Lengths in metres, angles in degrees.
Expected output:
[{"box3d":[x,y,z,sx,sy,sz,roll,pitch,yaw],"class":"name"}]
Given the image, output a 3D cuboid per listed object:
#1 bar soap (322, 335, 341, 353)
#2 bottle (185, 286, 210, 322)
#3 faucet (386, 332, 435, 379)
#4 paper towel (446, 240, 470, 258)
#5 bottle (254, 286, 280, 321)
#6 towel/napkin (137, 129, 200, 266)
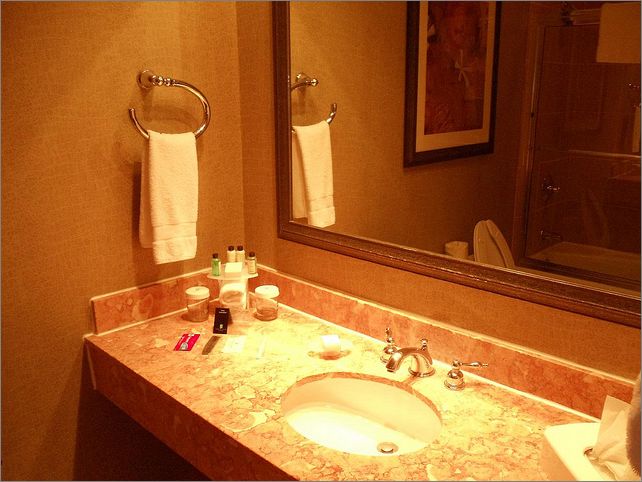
[{"box3d":[0.035,0.365,1.735,0.065,0.048,0.057,1,21,2],"class":"bar soap"},{"box3d":[-0.493,0.256,2.035,0.114,0.135,0.121,1,19,-4],"class":"bottle"},{"box3d":[0.288,0.387,1.585,0.191,0.127,0.069,-13,19,-35],"class":"faucet"},{"box3d":[0.435,0.017,1.591,0.053,0.055,0.056,4,25,16],"class":"paper towel"},{"box3d":[-0.222,0.237,2.029,0.105,0.136,0.154,-2,21,-6],"class":"bottle"},{"box3d":[-0.576,-0.164,1.858,0.239,0.480,0.155,-7,21,-20],"class":"towel/napkin"}]
